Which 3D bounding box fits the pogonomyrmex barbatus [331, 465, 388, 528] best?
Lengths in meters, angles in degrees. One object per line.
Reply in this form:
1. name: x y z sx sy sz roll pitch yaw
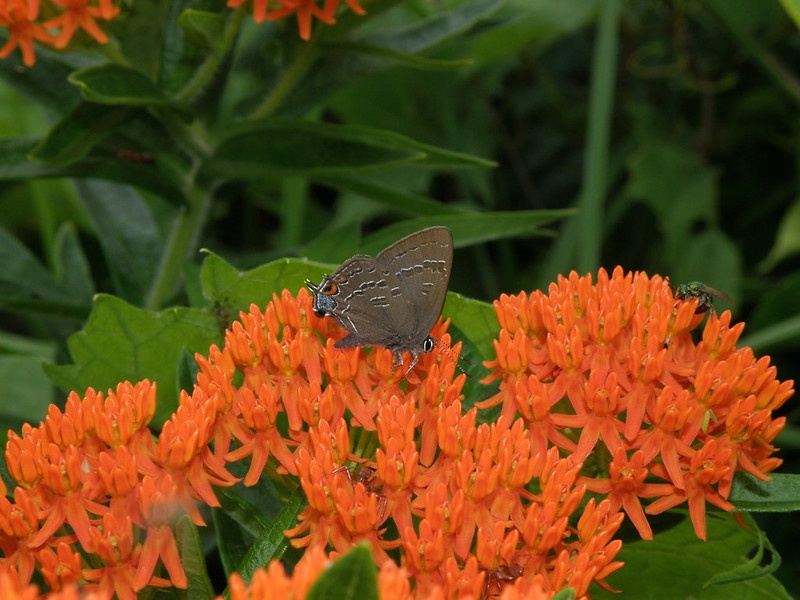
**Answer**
1. pogonomyrmex barbatus: -0.037 0.167 0.870 0.048 0.058 0.049 -5 13 -18
